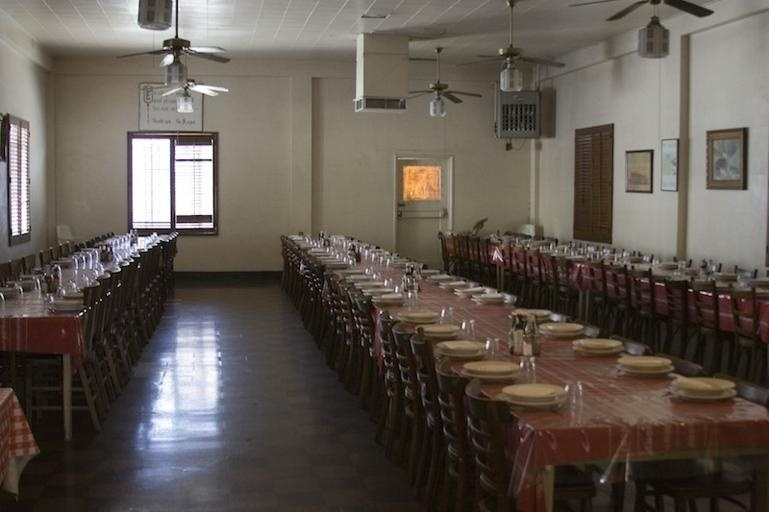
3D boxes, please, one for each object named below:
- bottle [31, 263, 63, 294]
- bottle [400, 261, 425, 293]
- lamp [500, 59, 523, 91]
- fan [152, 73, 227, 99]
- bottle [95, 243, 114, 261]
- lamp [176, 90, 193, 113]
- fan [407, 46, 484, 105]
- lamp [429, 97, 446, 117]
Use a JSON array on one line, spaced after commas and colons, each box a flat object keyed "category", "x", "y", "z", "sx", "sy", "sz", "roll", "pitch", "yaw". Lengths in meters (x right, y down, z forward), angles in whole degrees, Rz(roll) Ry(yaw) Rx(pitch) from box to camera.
[{"category": "bottle", "x": -3.663, "y": 0.255, "z": 6.375, "sx": 0.268, "sy": 0.494, "sz": 0.283, "roll": 1, "pitch": 1, "yaw": 0}, {"category": "bottle", "x": 0.336, "y": 0.238, "z": 6.470, "sx": 0.283, "sy": 0.426, "sz": 0.293, "roll": 3, "pitch": -1, "yaw": 0}, {"category": "lamp", "x": 1.883, "y": -2.694, "z": 8.707, "sx": 0.274, "sy": 0.419, "sz": 0.312, "roll": -3, "pitch": 9, "yaw": 2}, {"category": "fan", "x": -3.863, "y": -3.361, "z": 11.520, "sx": 1.606, "sy": 0.324, "sz": 1.778, "roll": 0, "pitch": 7, "yaw": -23}, {"category": "bottle", "x": -4.159, "y": -0.047, "z": 8.736, "sx": 0.141, "sy": 0.268, "sz": 0.279, "roll": 1, "pitch": 1, "yaw": -15}, {"category": "lamp", "x": -3.267, "y": -2.548, "z": 9.628, "sx": 0.218, "sy": 0.306, "sz": 0.523, "roll": -7, "pitch": 9, "yaw": -20}, {"category": "fan", "x": 1.139, "y": -3.690, "z": 11.738, "sx": 1.272, "sy": 0.844, "sz": 1.312, "roll": 14, "pitch": 22, "yaw": 31}, {"category": "lamp", "x": 1.029, "y": -2.950, "z": 11.463, "sx": 0.234, "sy": 0.342, "sz": 0.444, "roll": -1, "pitch": 9, "yaw": 13}]
